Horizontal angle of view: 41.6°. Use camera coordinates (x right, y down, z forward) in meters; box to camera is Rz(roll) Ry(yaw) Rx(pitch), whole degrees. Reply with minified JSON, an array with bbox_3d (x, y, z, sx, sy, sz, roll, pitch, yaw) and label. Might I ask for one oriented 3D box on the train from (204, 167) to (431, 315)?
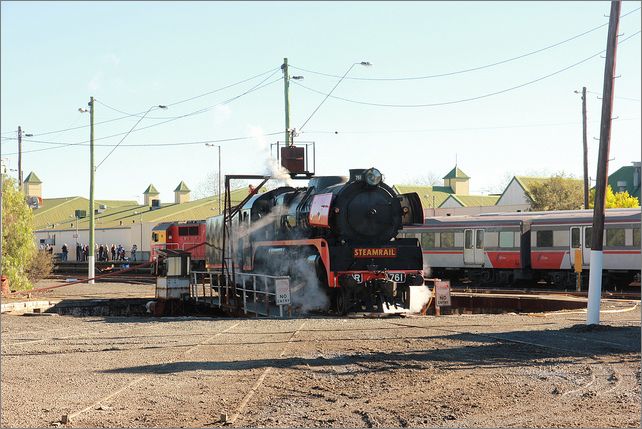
[{"bbox_3d":[-0.823,1.026,34.420,3.960,5.184,13.416,0,-2,-25],"label":"train"}]
